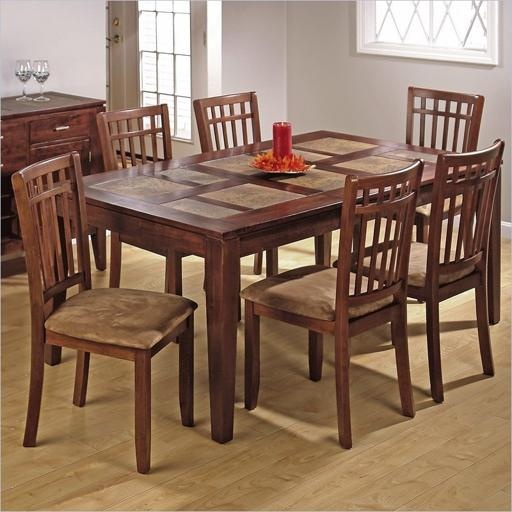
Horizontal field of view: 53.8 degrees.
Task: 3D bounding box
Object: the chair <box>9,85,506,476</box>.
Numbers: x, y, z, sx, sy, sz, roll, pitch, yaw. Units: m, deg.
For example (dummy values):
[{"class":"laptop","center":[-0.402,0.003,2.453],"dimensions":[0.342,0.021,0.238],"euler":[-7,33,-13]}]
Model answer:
[{"class":"chair","center":[-0.013,-0.027,2.076],"dimensions":[1.931,0.966,1.082],"euler":[-8,15,-36]}]
